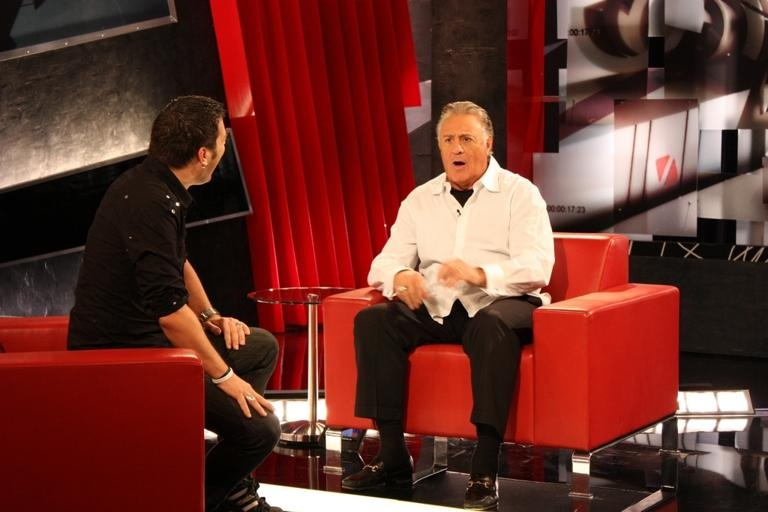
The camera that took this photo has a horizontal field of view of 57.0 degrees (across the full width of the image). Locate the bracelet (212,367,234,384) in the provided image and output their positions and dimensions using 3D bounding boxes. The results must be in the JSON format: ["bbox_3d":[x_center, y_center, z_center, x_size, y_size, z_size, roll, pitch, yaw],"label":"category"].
[{"bbox_3d":[-0.600,0.444,2.642,0.060,0.023,0.058,-13,11,8],"label":"bracelet"}]

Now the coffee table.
[{"bbox_3d":[-0.388,0.561,3.788,0.727,0.800,0.725,0,-2,-8],"label":"coffee table"}]

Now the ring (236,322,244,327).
[{"bbox_3d":[-0.606,0.286,3.011,0.022,0.020,0.038,2,-18,8],"label":"ring"}]

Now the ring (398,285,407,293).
[{"bbox_3d":[0.084,0.150,3.298,0.026,0.033,0.012,-1,37,6],"label":"ring"}]

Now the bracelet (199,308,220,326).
[{"bbox_3d":[-0.744,0.252,3.009,0.078,0.055,0.084,-23,-27,-24],"label":"bracelet"}]

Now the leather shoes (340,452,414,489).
[{"bbox_3d":[-0.029,0.957,3.220,0.313,0.134,0.127,1,-4,-22],"label":"leather shoes"}]
